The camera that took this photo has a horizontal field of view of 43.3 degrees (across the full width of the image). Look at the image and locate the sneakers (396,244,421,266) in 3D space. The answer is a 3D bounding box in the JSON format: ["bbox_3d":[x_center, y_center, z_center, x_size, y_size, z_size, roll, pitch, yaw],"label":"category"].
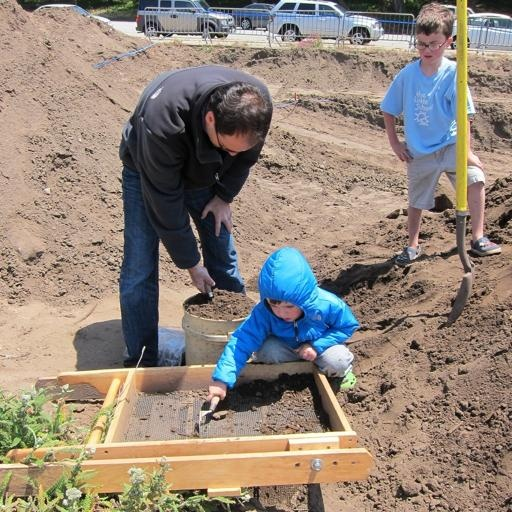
[{"bbox_3d":[1.212,-0.005,5.201,0.249,0.090,0.115,-25,29,-36],"label":"sneakers"}]

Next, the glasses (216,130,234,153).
[{"bbox_3d":[-0.182,-0.593,3.446,0.031,0.077,0.096,-10,-8,28],"label":"glasses"}]

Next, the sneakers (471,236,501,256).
[{"bbox_3d":[1.636,-0.060,4.651,0.110,0.077,0.210,-8,5,-26],"label":"sneakers"}]

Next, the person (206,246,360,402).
[{"bbox_3d":[0.181,0.436,3.733,0.945,0.959,0.407,0,18,-9],"label":"person"}]
